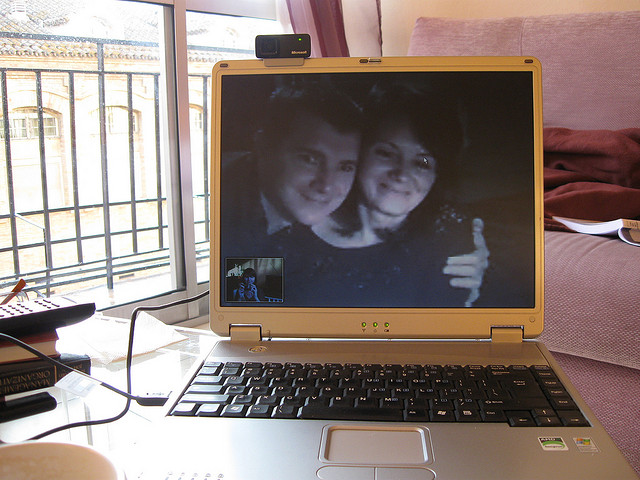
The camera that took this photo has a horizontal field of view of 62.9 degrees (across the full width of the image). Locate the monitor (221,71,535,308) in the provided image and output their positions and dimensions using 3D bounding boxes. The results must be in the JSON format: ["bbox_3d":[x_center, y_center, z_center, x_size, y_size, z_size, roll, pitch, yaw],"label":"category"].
[{"bbox_3d":[0.114,-0.082,0.895,0.666,0.403,0.018,-5,14,-27],"label":"monitor"}]
